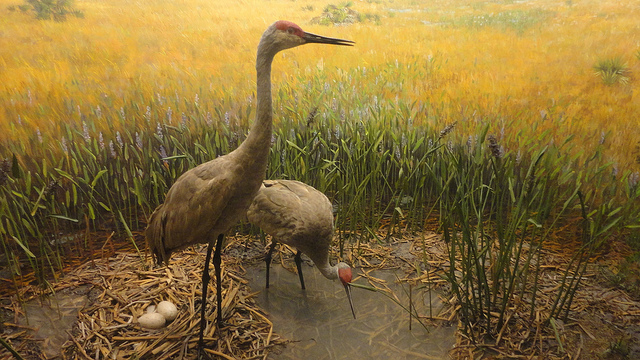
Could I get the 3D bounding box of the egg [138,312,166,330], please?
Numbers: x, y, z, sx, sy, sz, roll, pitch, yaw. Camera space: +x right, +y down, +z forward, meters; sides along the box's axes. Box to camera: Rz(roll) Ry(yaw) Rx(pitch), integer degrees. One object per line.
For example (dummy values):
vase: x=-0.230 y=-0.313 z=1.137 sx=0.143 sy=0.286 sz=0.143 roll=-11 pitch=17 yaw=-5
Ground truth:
egg: x=-1.556 y=1.315 z=4.436 sx=0.211 sy=0.116 sz=0.134 roll=5 pitch=-8 yaw=-10

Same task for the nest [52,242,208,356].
nest: x=-1.745 y=1.211 z=4.594 sx=1.301 sy=0.239 sz=1.081 roll=12 pitch=40 yaw=-1
